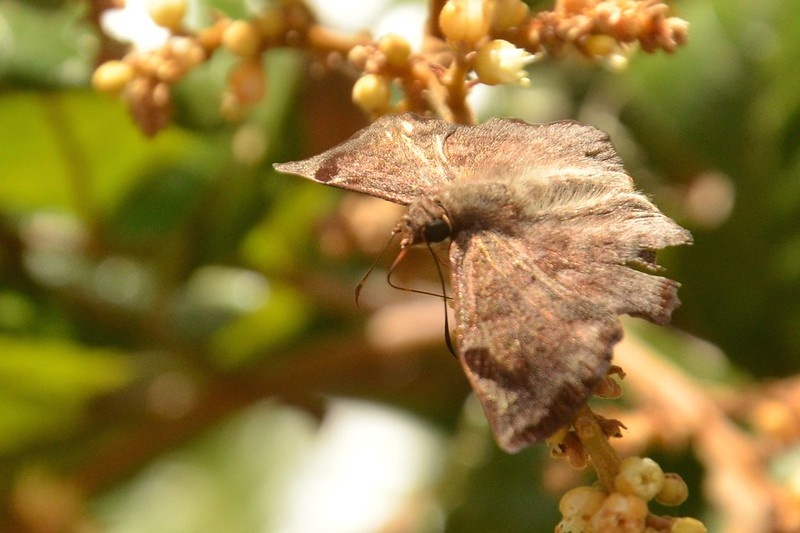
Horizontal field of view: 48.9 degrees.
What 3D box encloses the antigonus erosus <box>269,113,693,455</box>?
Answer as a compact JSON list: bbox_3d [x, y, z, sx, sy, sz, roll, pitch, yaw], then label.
[{"bbox_3d":[0.117,0.044,0.990,0.377,0.141,0.481,-30,48,-17],"label":"antigonus erosus"}]
